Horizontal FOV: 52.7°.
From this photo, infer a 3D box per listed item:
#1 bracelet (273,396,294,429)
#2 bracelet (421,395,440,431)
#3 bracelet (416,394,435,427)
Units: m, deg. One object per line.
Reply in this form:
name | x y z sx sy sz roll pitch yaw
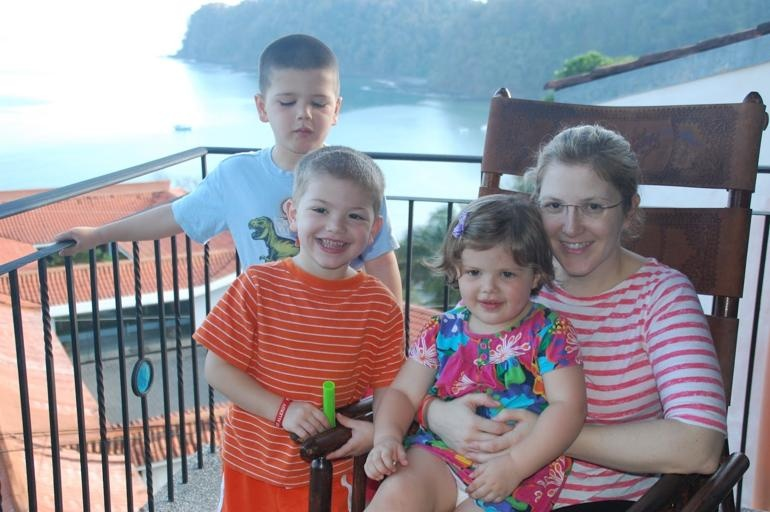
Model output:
bracelet | -0.549 0.828 4.161 0.030 0.130 0.122 10 2 2
bracelet | 0.219 0.844 4.225 0.111 0.149 0.147 8 28 15
bracelet | 0.213 0.838 4.229 0.033 0.145 0.145 9 3 12
